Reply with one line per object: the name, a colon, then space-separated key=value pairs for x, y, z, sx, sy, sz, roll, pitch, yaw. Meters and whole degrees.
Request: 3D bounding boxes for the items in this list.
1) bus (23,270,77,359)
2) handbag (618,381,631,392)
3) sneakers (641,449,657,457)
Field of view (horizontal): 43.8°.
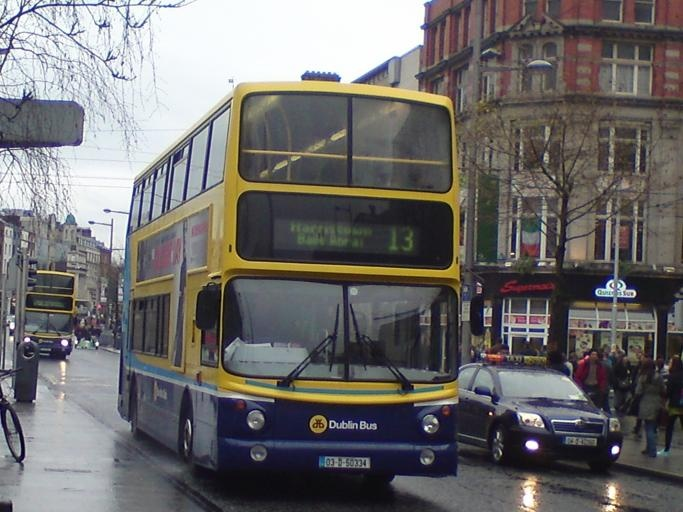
bus: x=-16.063 y=3.078 z=46.782 sx=2.449 sy=4.232 sz=1.268 roll=2 pitch=-1 yaw=-15
handbag: x=8.281 y=3.831 z=24.927 sx=0.323 sy=0.104 sz=0.349 roll=-3 pitch=4 yaw=-10
sneakers: x=6.644 y=4.271 z=18.383 sx=0.122 sy=0.183 sz=0.399 roll=0 pitch=-11 yaw=-6
